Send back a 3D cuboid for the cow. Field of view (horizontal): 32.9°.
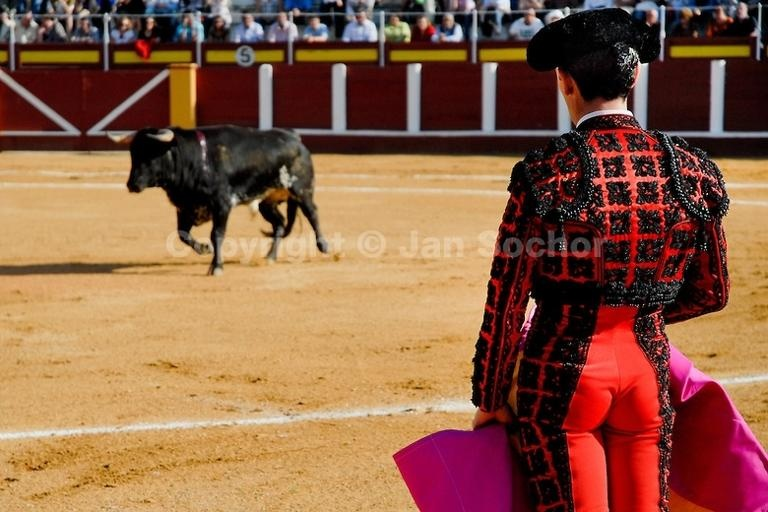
[{"bbox_3d":[-1.455,-0.555,12.328,2.015,1.389,0.654,-4,4,-40],"label":"cow"}]

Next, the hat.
[{"bbox_3d":[1.100,-1.158,6.834,0.456,0.149,0.418,-11,4,-29],"label":"hat"}]
